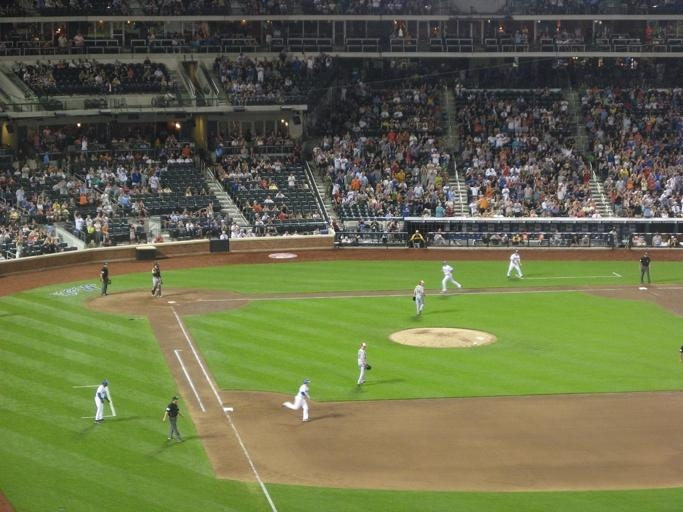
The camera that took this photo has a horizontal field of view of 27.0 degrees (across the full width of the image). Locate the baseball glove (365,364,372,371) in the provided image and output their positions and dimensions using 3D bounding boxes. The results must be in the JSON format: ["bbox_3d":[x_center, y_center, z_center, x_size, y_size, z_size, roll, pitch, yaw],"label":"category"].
[{"bbox_3d":[1.248,5.273,66.396,0.164,0.375,0.216,31,62,16],"label":"baseball glove"}]

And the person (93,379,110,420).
[{"bbox_3d":[-10.680,6.595,63.582,0.968,2.386,0.944,-1,23,-12],"label":"person"}]
